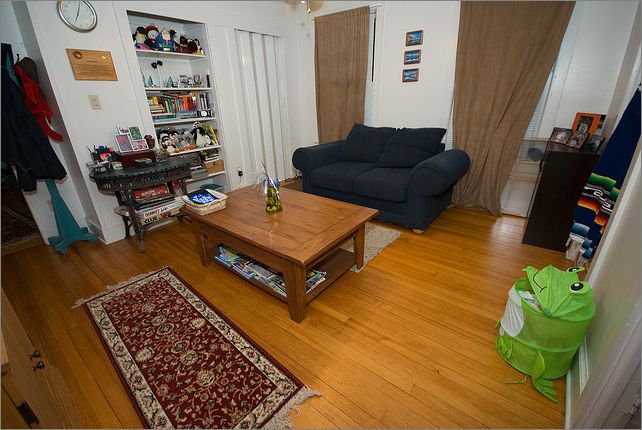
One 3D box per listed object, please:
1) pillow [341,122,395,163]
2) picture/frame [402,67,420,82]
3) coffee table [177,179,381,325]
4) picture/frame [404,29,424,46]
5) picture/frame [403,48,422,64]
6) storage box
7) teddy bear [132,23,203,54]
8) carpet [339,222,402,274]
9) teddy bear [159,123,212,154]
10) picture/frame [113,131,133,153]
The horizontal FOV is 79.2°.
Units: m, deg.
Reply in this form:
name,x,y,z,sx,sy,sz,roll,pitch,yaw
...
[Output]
name,x,y,z,sx,sy,sz,roll,pitch,yaw
pillow,0.594,-0.969,5.207,0.593,0.570,0.182,18,-3,36
picture/frame,1.182,-1.850,5.080,0.200,0.152,0.020,9,18,33
coffee table,-0.469,0.250,4.022,1.748,0.684,1.130,17,32,35
picture/frame,1.194,-2.274,4.949,0.215,0.158,0.030,10,23,31
picture/frame,1.186,-2.061,5.017,0.208,0.159,0.022,11,18,37
storage box,1.778,0.766,3.238,0.682,0.858,0.989,17,32,39
teddy bear,-1.852,-2.056,4.592,0.532,0.196,0.427,25,37,27
carpet,0.655,0.353,4.381,0.501,0.026,0.486,-33,32,-32
teddy bear,-1.738,-0.982,5.006,0.387,0.160,0.521,21,29,35
picture/frame,-2.212,-0.815,4.344,0.162,0.180,0.151,-15,27,-26
